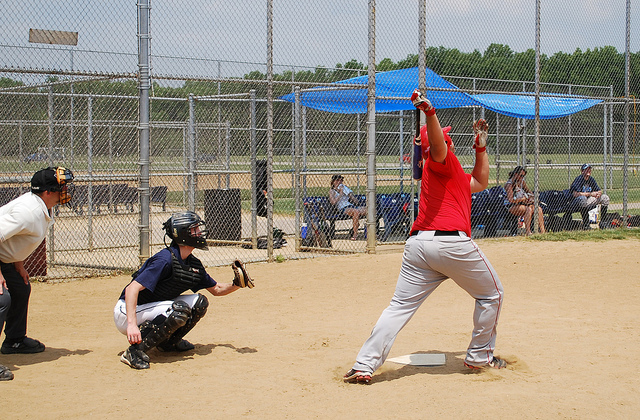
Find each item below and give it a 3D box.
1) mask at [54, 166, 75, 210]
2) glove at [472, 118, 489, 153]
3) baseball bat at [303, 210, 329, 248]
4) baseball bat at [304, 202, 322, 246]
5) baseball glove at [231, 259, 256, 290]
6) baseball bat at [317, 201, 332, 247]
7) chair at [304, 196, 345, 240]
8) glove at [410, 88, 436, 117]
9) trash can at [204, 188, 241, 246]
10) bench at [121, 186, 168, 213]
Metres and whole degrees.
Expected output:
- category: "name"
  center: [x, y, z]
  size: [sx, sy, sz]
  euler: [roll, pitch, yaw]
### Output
- category: "mask"
  center: [-3.594, -0.344, 12.922]
  size: [0.200, 0.582, 0.539]
  euler: [-4, 15, -13]
- category: "glove"
  center: [2.215, -1.041, 12.669]
  size: [0.173, 0.455, 0.567]
  euler: [2, 15, 9]
- category: "baseball bat"
  center: [-0.112, 0.419, 19.070]
  size: [0.057, 0.849, 0.150]
  euler: [-28, -22, -14]
- category: "baseball bat"
  center: [-0.137, 0.322, 19.153]
  size: [0.091, 0.929, 0.070]
  euler: [-17, 1, -9]
- category: "baseball glove"
  center: [-1.086, 0.932, 12.835]
  size: [0.224, 0.201, 0.540]
  euler: [0, 33, -12]
- category: "baseball bat"
  center: [0.093, 0.344, 19.143]
  size: [0.125, 0.837, 0.067]
  euler: [-18, -14, -12]
- category: "chair"
  center: [-0.065, 0.149, 19.543]
  size: [0.740, 1.139, 0.809]
  euler: [1, -5, -20]
- category: "glove"
  center: [1.376, -1.411, 12.103]
  size: [0.310, 0.308, 0.288]
  euler: [6, 16, 20]
- category: "trash can"
  center: [-2.119, 0.087, 19.908]
  size: [0.835, 1.131, 0.545]
  euler: [2, 15, 9]
- category: "bench"
  center: [-4.155, -0.256, 21.609]
  size: [0.669, 0.191, 0.780]
  euler: [3, 31, -4]
